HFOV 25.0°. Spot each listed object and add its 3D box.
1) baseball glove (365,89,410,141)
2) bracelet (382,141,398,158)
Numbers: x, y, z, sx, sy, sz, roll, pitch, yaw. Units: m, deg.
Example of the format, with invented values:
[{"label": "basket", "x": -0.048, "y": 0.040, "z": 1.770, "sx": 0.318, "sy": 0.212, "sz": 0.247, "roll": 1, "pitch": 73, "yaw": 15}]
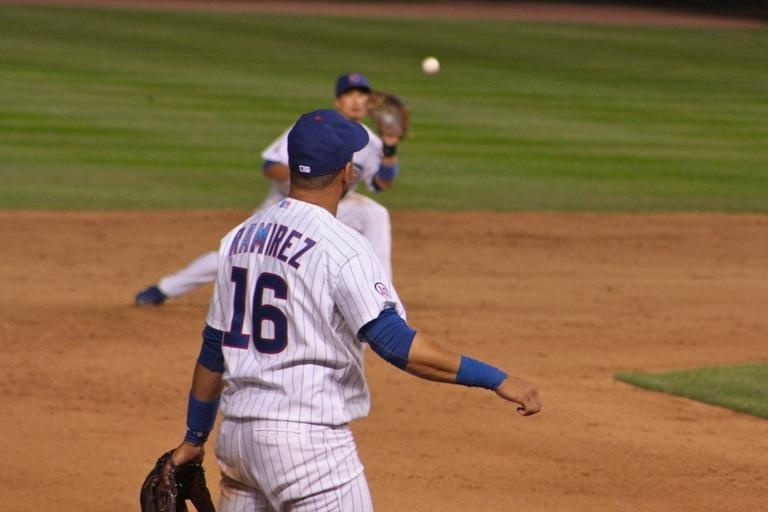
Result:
[{"label": "baseball glove", "x": 0.093, "y": -1.726, "z": 20.804, "sx": 0.459, "sy": 0.553, "sz": 0.223, "roll": -8, "pitch": 14, "yaw": 10}, {"label": "bracelet", "x": 0.109, "y": -1.298, "z": 20.934, "sx": 0.191, "sy": 0.165, "sz": 0.176, "roll": 12, "pitch": -10, "yaw": -12}]
